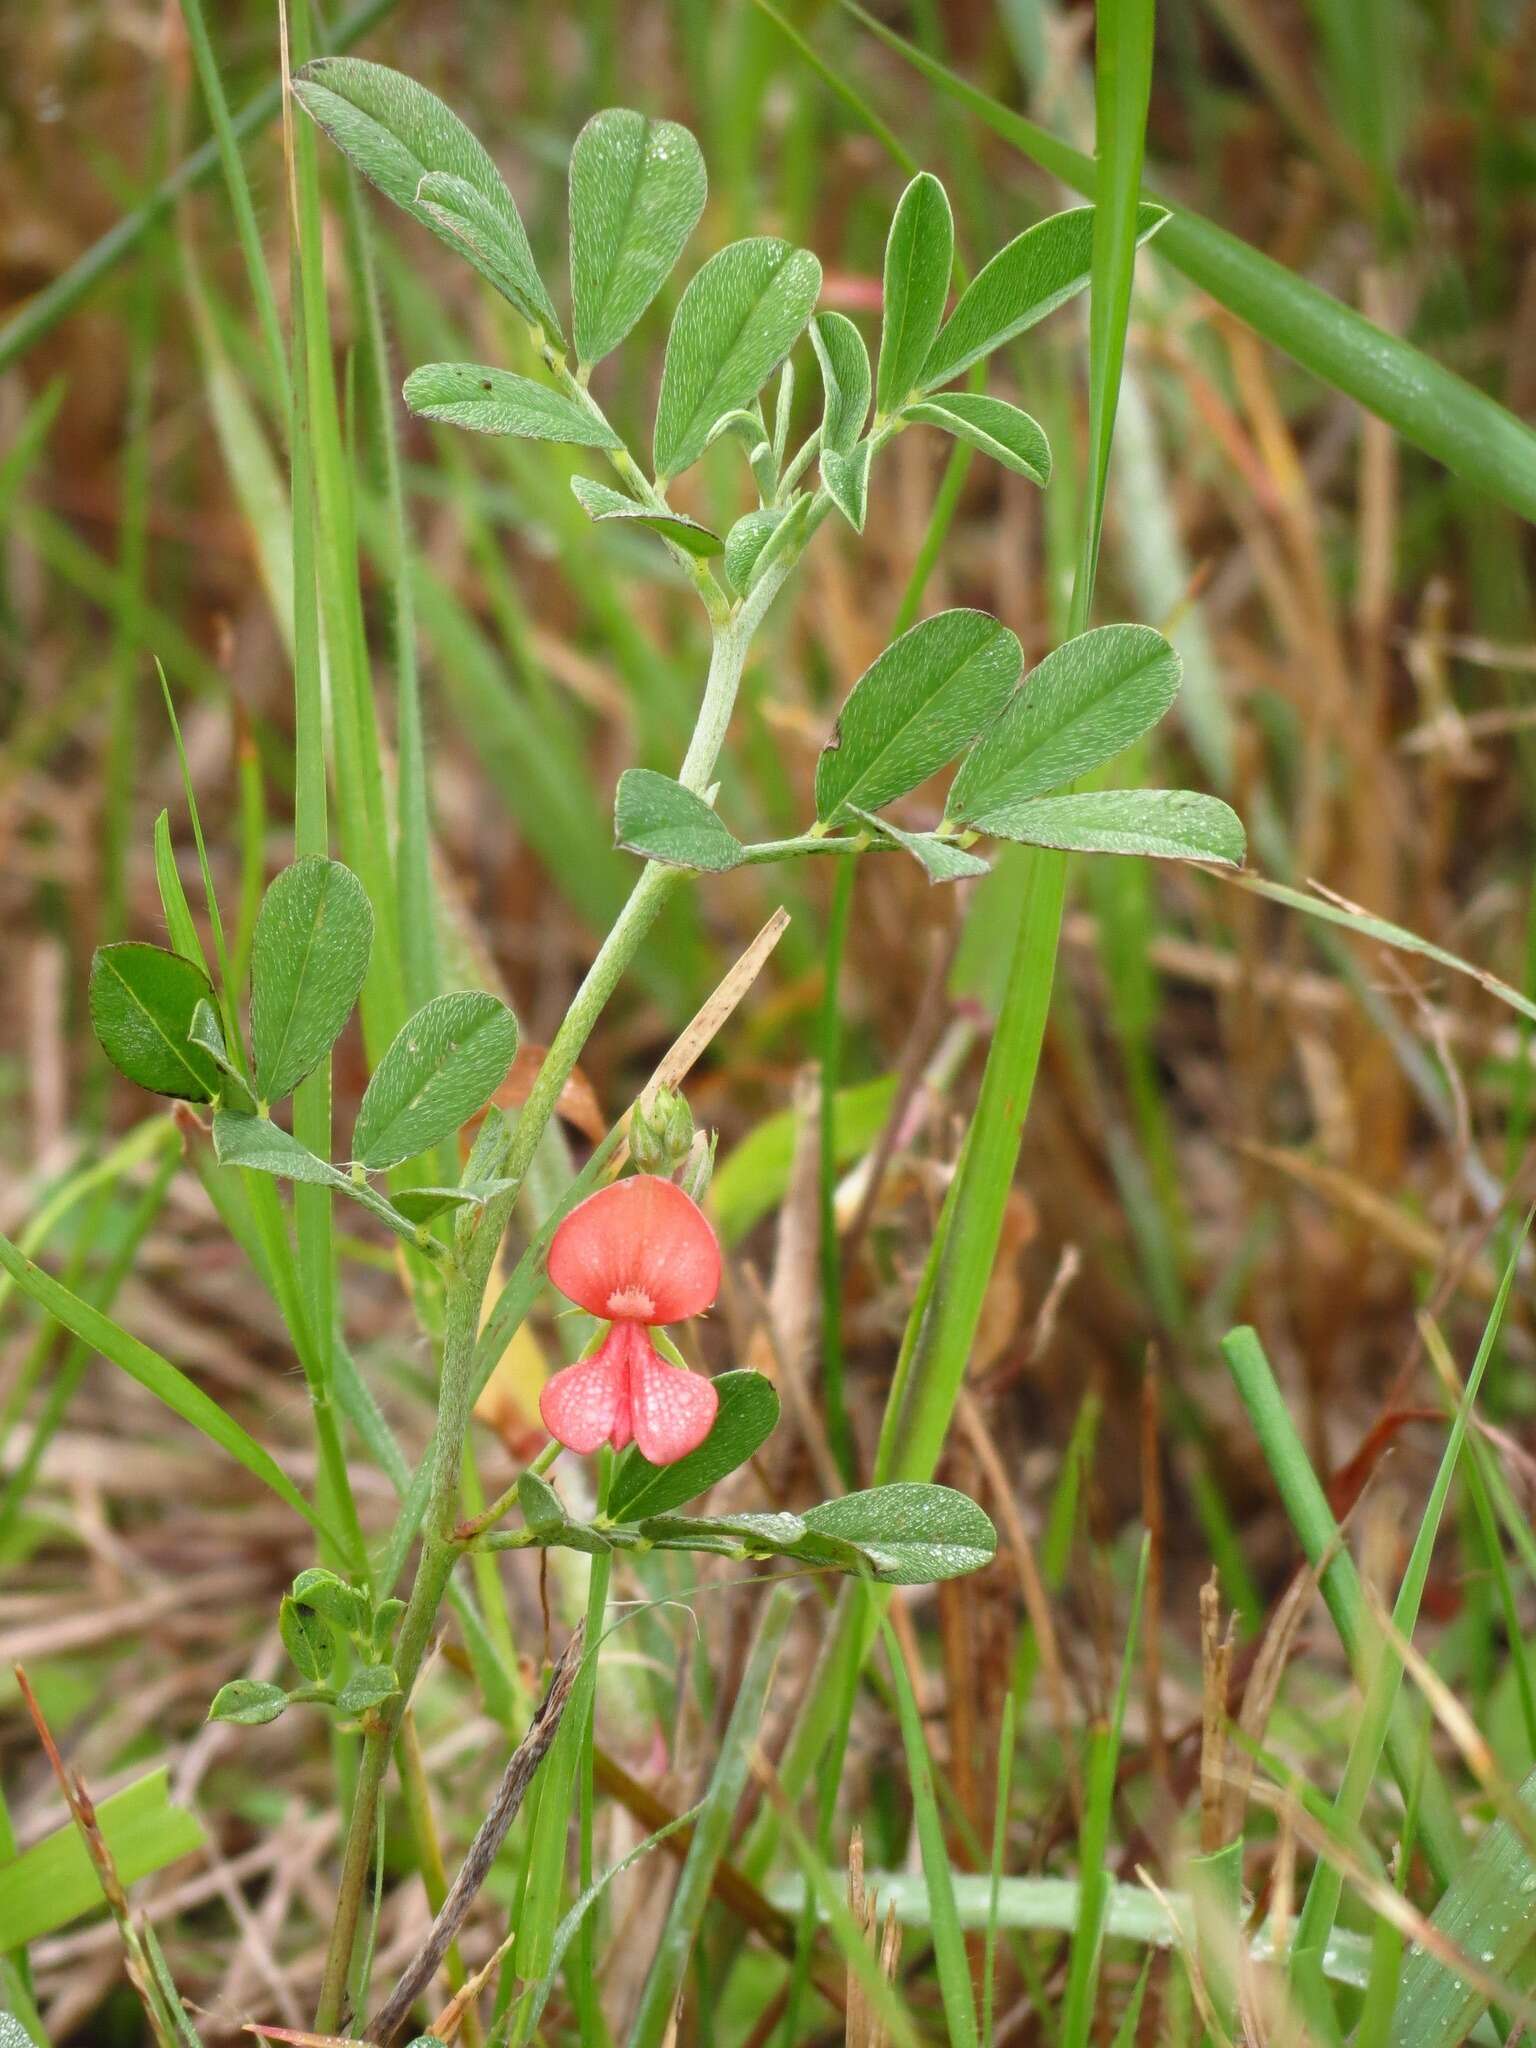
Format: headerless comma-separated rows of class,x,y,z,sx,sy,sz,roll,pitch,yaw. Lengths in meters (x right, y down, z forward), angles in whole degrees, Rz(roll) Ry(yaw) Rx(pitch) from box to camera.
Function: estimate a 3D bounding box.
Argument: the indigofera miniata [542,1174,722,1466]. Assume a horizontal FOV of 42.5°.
indigofera miniata,-0.033,0.071,0.480,0.041,0.017,0.072,-2,76,11
